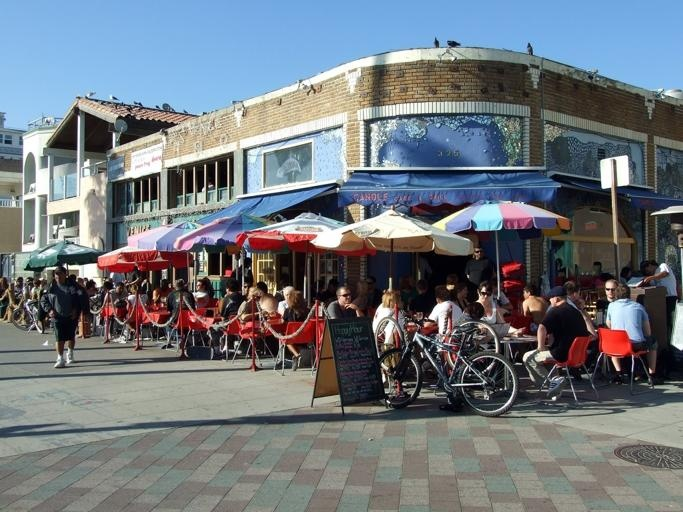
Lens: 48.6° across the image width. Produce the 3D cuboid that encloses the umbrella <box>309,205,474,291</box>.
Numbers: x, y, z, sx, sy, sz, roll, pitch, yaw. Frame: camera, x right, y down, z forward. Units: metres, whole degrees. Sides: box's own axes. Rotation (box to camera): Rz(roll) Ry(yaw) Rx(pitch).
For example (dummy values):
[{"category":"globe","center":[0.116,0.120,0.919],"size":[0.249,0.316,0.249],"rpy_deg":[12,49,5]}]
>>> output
[{"category":"umbrella","center":[0.969,-0.361,14.255],"size":[2.143,0.990,1.971],"rpy_deg":[1,-2,-42]}]

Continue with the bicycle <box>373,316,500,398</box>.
[{"category":"bicycle","center":[1.767,1.747,12.357],"size":[2.082,1.254,1.046],"rpy_deg":[-5,-15,22]}]

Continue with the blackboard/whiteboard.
[{"category":"blackboard/whiteboard","center":[0.256,1.622,12.042],"size":[0.920,1.309,0.395],"rpy_deg":[-5,6,-41]}]

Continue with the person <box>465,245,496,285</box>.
[{"category":"person","center":[3.168,0.215,17.222],"size":[0.667,1.298,0.473],"rpy_deg":[-5,-35,14]}]

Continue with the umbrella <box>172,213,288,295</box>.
[{"category":"umbrella","center":[-2.847,-0.049,20.121],"size":[2.700,1.102,2.724],"rpy_deg":[-1,0,7]}]

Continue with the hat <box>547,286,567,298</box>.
[{"category":"hat","center":[3.674,0.639,12.898],"size":[0.249,0.177,0.325],"rpy_deg":[-2,10,-15]}]

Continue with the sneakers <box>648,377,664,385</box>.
[{"category":"sneakers","center":[5.646,2.228,13.582],"size":[0.369,0.158,0.132],"rpy_deg":[-2,-2,-30]}]

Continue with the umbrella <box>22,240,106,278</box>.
[{"category":"umbrella","center":[-8.185,-0.012,23.085],"size":[1.581,0.605,1.608],"rpy_deg":[-3,-4,25]}]

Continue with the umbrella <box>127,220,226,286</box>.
[{"category":"umbrella","center":[-4.633,-0.044,21.709],"size":[2.348,0.815,2.374],"rpy_deg":[1,-3,3]}]

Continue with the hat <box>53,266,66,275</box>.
[{"category":"hat","center":[-5.930,0.265,16.006],"size":[0.201,0.204,0.205],"rpy_deg":[-5,-10,25]}]
